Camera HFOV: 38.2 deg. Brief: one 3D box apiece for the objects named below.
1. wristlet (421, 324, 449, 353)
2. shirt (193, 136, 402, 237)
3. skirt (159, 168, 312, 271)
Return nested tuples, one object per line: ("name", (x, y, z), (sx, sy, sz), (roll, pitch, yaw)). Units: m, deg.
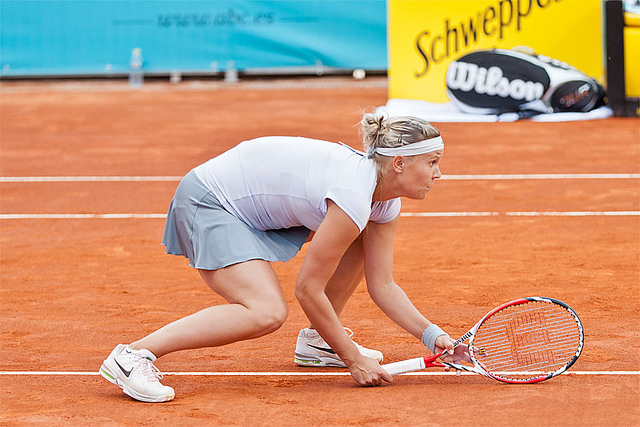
("wristlet", (1.143, 1.250, 9.487), (0.257, 0.227, 0.287), (29, 6, 5))
("shirt", (-0.255, -0.333, 9.393), (1.746, 0.575, 1.009), (6, 6, 10))
("skirt", (-0.871, 0.118, 9.500), (1.648, 0.607, 1.190), (1, -20, 21))
